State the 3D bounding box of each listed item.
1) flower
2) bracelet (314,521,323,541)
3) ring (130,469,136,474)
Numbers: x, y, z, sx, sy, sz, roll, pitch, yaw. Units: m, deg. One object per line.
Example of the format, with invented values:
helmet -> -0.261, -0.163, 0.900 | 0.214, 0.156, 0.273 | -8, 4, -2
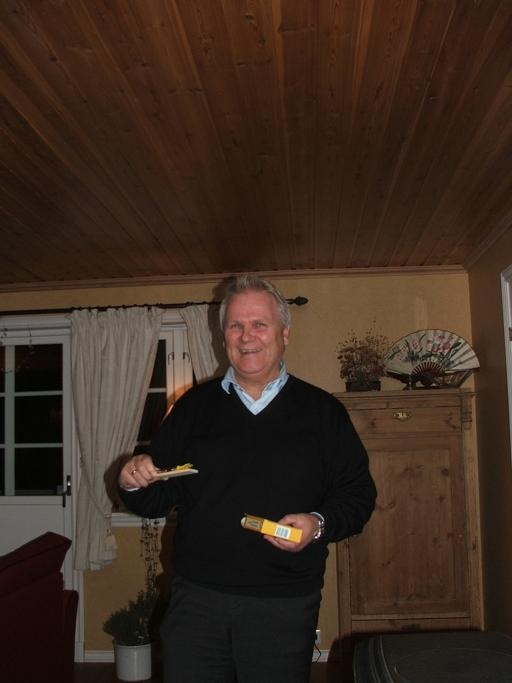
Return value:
flower -> 0.718, 0.136, 3.619 | 0.282, 0.341, 0.299 | -15, 1, 16
bracelet -> 0.149, 0.460, 1.335 | 0.022, 0.047, 0.032 | -3, -9, 14
ring -> -0.309, 0.323, 1.371 | 0.011, 0.011, 0.003 | -6, -8, 27
